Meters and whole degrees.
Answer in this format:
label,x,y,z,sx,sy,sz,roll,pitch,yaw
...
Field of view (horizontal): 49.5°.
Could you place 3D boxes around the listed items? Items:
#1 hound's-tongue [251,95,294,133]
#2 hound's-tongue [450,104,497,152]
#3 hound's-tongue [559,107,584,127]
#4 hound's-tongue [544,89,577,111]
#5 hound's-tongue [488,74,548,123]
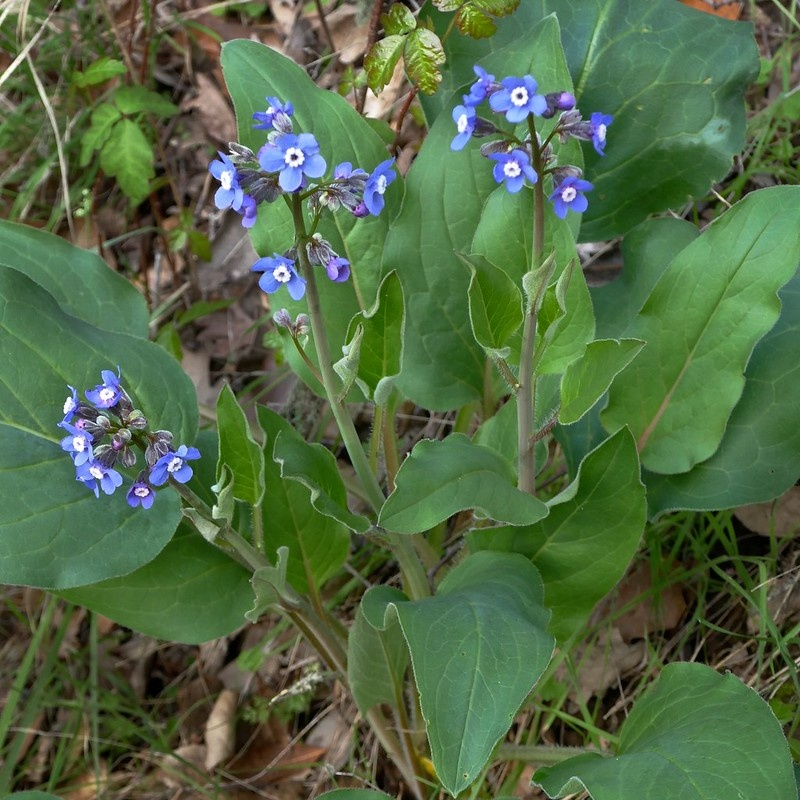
label,x,y,z,sx,sy,sz,roll,pitch,yaw
hound's-tongue,-0.321,-0.692,2.182,0.091,0.088,0.140,-4,56,0
hound's-tongue,0.207,-0.701,2.289,0.143,0.056,0.135,-2,54,7
hound's-tongue,0.455,-0.741,2.292,0.048,0.021,0.054,12,45,13
hound's-tongue,0.415,-0.760,2.251,0.054,0.098,0.040,-6,86,16
hound's-tongue,0.294,-0.745,2.155,0.142,0.093,0.144,6,57,6
